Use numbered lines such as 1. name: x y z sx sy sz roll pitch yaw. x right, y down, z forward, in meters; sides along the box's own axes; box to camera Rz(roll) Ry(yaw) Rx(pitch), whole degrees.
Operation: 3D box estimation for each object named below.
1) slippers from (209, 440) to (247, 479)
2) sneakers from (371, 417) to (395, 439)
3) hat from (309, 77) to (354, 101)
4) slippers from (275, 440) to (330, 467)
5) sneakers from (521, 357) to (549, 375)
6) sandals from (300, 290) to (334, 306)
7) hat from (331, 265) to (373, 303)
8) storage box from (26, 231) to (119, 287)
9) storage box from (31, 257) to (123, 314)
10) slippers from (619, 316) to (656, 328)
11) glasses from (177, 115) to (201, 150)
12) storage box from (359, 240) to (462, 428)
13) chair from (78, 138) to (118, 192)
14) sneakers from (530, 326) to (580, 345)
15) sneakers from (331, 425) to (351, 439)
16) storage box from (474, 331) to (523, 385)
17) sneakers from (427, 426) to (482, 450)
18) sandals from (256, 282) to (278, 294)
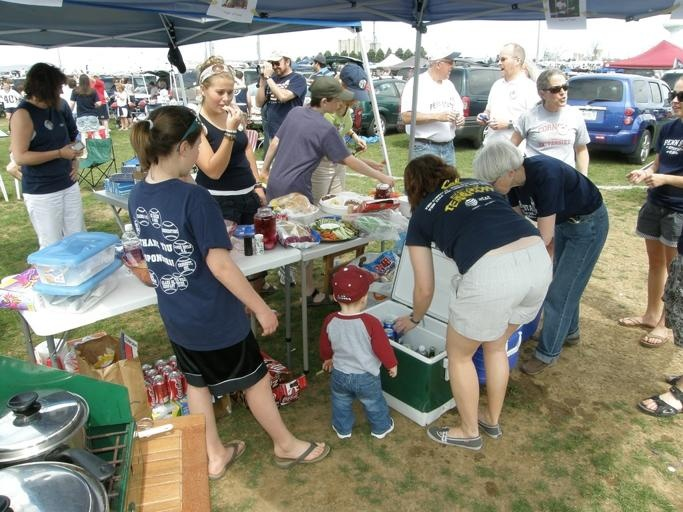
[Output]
1. slippers: -0.692 1.252 2.803 0.098 0.055 0.238 16 38 18
2. sneakers: 0.279 1.159 3.061 0.078 0.080 0.191 2 8 28
3. hat: -0.079 -1.327 3.612 0.294 0.111 0.173 -7 48 -20
4. slippers: -0.240 1.253 2.817 0.282 0.063 0.138 -7 20 -14
5. sneakers: 1.570 0.874 3.617 0.258 0.089 0.093 -3 12 -38
6. sandals: -0.219 0.418 4.493 0.277 0.102 0.121 -2 12 -4
7. hat: 0.075 0.169 2.842 0.198 0.139 0.260 5 39 27
8. storage box: -1.599 -0.008 2.546 0.374 0.169 0.580 -15 -12 27
9. storage box: -1.601 0.172 2.656 0.452 0.160 0.573 5 13 -31
10. slippers: 2.688 0.604 4.107 0.220 0.053 0.105 6 12 33
11. glasses: -0.730 -0.589 2.177 0.041 0.148 0.111 43 8 -9
12. storage box: 0.562 0.512 3.307 0.765 1.033 0.851 -15 26 -30
13. chair: -4.103 -1.499 7.389 0.626 0.795 0.613 15 27 26
14. sneakers: 1.883 0.687 3.951 0.330 0.146 0.188 -8 38 17
15. sneakers: -0.002 1.184 3.056 0.064 0.056 0.143 -3 5 -29
16. storage box: 1.042 0.752 3.163 0.233 0.289 0.200 3 -27 -23
17. sneakers: 0.742 1.174 2.972 0.340 0.090 0.125 7 13 15
18. sandals: -0.777 0.333 4.681 0.195 0.072 0.085 -5 15 -11
